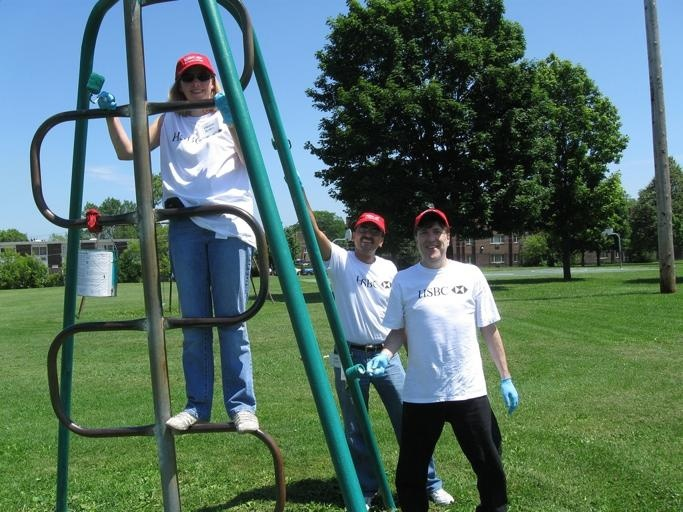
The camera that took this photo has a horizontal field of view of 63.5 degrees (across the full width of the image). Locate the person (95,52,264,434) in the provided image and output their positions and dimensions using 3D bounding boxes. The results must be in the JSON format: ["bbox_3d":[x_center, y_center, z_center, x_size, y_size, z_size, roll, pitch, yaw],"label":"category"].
[{"bbox_3d":[-0.869,-0.135,3.375,0.791,1.944,0.902,0,0,-38],"label":"person"}]

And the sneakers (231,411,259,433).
[{"bbox_3d":[-0.560,0.950,3.149,0.106,0.078,0.212,1,6,-9],"label":"sneakers"}]

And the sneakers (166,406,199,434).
[{"bbox_3d":[-0.885,0.926,3.094,0.132,0.099,0.329,0,0,-5],"label":"sneakers"}]

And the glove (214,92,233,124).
[{"bbox_3d":[-0.676,-0.836,3.121,0.095,0.151,0.355,0,0,-11],"label":"glove"}]

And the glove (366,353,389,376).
[{"bbox_3d":[0.265,0.796,3.987,0.127,0.178,0.079,35,-14,-10],"label":"glove"}]
